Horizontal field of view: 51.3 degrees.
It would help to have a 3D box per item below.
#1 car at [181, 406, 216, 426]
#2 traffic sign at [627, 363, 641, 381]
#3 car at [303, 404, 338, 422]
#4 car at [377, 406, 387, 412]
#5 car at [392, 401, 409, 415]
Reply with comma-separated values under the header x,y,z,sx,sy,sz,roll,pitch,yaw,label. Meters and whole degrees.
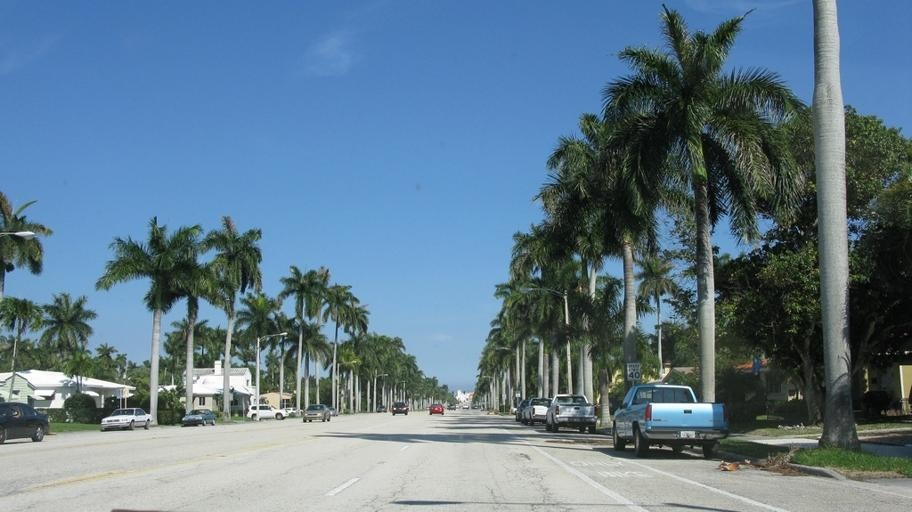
x,y,z,sx,sy,sz,roll,pitch,yaw,label
-23.773,14.966,88.163,1.919,2.102,5.208,0,-18,-4,car
11.821,7.700,63.370,1.053,1.368,0.132,-3,-4,33,traffic sign
-13.736,15.814,95.906,1.971,1.241,3.681,-3,-19,5,car
-12.836,26.850,166.502,1.037,0.859,2.490,-1,-15,-7,car
-7.022,18.845,118.407,1.408,1.092,2.368,0,-16,-2,car
